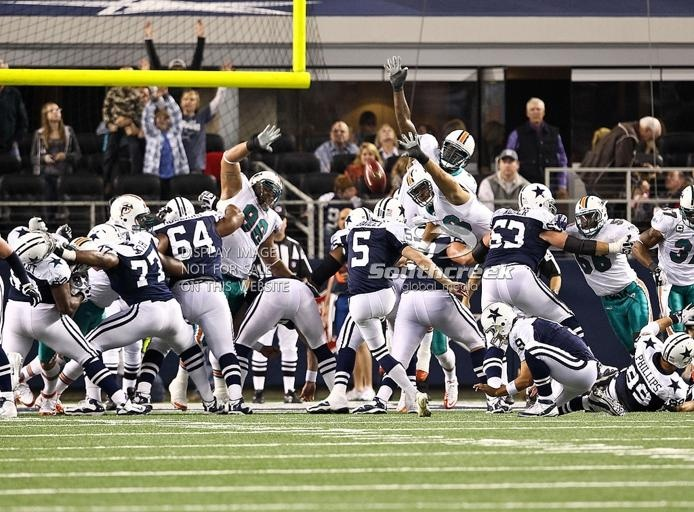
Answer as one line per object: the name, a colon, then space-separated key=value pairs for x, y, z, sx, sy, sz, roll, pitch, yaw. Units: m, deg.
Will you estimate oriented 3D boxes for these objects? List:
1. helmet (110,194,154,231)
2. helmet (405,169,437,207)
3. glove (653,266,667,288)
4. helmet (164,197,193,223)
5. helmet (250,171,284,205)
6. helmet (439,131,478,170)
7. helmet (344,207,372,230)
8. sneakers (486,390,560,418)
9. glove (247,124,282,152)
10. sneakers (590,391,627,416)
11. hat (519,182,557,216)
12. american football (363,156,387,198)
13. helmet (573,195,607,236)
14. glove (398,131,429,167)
helmet: x=-1.945 y=-0.400 z=11.709 sx=0.343 sy=0.312 sz=0.259 roll=-1 pitch=17 yaw=-8
helmet: x=0.664 y=-0.624 z=11.852 sx=0.251 sy=0.362 sz=0.299 roll=-1 pitch=4 yaw=2
glove: x=3.014 y=0.215 z=12.707 sx=0.072 sy=0.201 sz=0.140 roll=-20 pitch=5 yaw=30
helmet: x=-1.518 y=-0.429 z=11.753 sx=0.258 sy=0.239 sz=0.210 roll=11 pitch=2 yaw=7
helmet: x=-0.723 y=-0.616 z=11.809 sx=0.303 sy=0.309 sz=0.220 roll=-4 pitch=5 yaw=-35
helmet: x=0.984 y=-0.950 z=11.834 sx=0.289 sy=0.377 sz=0.273 roll=-1 pitch=4 yaw=4
helmet: x=0.098 y=-0.294 z=11.718 sx=0.213 sy=0.230 sz=0.177 roll=-10 pitch=25 yaw=-28
sneakers: x=1.580 y=1.246 z=10.978 sx=0.388 sy=0.251 sz=0.142 roll=0 pitch=0 yaw=-1
glove: x=-0.752 y=-1.072 z=11.753 sx=0.264 sy=0.234 sz=0.559 roll=-1 pitch=4 yaw=3
sneakers: x=2.176 y=1.212 z=10.966 sx=0.303 sy=0.219 sz=0.213 roll=0 pitch=4 yaw=11
hat: x=1.695 y=-0.506 z=11.687 sx=0.308 sy=0.264 sz=0.235 roll=5 pitch=2 yaw=-8
american football: x=0.287 y=-0.853 z=13.223 sx=0.197 sy=0.413 sz=0.230 roll=-14 pitch=-33 yaw=-16
helmet: x=2.338 y=-0.383 z=12.492 sx=0.305 sy=0.399 sz=0.307 roll=-1 pitch=4 yaw=5
glove: x=0.577 y=-0.930 z=11.310 sx=0.253 sy=0.303 sz=0.681 roll=-1 pitch=4 yaw=2
